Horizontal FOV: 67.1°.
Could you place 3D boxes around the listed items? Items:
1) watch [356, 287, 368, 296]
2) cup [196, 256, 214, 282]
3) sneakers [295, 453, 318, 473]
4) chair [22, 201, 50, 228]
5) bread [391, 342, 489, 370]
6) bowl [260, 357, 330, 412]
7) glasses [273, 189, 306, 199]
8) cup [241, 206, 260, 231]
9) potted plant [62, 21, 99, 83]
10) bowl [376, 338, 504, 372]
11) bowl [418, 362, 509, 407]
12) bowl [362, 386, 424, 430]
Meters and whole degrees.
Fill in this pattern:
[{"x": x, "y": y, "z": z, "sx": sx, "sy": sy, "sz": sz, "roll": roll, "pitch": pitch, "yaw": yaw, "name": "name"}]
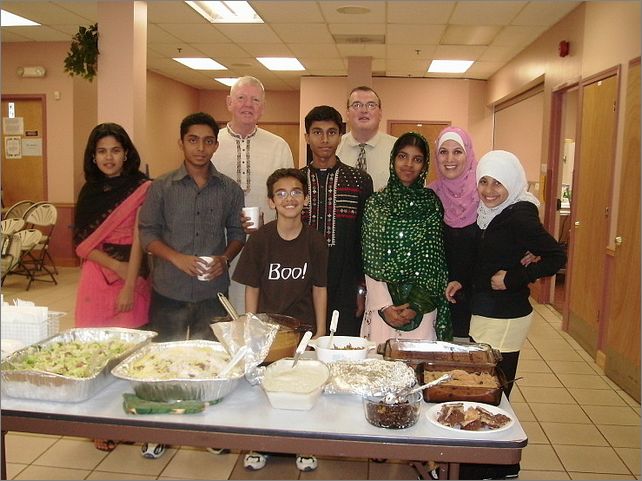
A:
[{"x": 0.253, "y": 0.318, "z": 3.029, "sx": 0.055, "sy": 0.042, "sz": 0.056, "roll": -3, "pitch": 2, "yaw": 25, "name": "watch"}, {"x": -0.659, "y": 0.164, "z": 2.754, "sx": 0.080, "sy": 0.166, "sz": 0.147, "roll": -1, "pitch": 10, "yaw": -13, "name": "cup"}, {"x": -0.096, "y": 1.316, "z": 2.852, "sx": 0.158, "sy": 0.093, "sz": 0.156, "roll": 1, "pitch": 2, "yaw": 2, "name": "sneakers"}, {"x": -4.016, "y": -0.377, "z": 6.805, "sx": 0.525, "sy": 0.306, "sz": 0.251, "roll": 7, "pitch": 11, "yaw": 29, "name": "chair"}, {"x": 0.525, "y": 0.498, "z": 2.131, "sx": 0.321, "sy": 0.054, "sz": 0.153, "roll": 2, "pitch": 16, "yaw": 9, "name": "bread"}, {"x": -0.120, "y": 0.571, "z": 1.993, "sx": 0.330, "sy": 0.123, "sz": 0.377, "roll": 3, "pitch": -8, "yaw": -11, "name": "bowl"}, {"x": -0.176, "y": -0.249, "z": 2.588, "sx": 0.159, "sy": 0.064, "sz": 0.061, "roll": 1, "pitch": 10, "yaw": -6, "name": "glasses"}, {"x": -0.405, "y": -0.137, "z": 2.889, "sx": 0.126, "sy": 0.136, "sz": 0.125, "roll": -2, "pitch": 0, "yaw": 0, "name": "cup"}, {"x": -2.617, "y": -2.075, "z": 5.287, "sx": 0.338, "sy": 0.626, "sz": 0.462, "roll": -3, "pitch": 11, "yaw": -24, "name": "potted plant"}, {"x": 0.520, "y": 0.497, "z": 2.130, "sx": 0.395, "sy": 0.055, "sz": 0.188, "roll": 1, "pitch": 16, "yaw": 10, "name": "bowl"}, {"x": 0.563, "y": 0.566, "z": 1.910, "sx": 0.246, "sy": 0.072, "sz": 0.162, "roll": 0, "pitch": 21, "yaw": 5, "name": "bowl"}, {"x": 0.261, "y": 0.613, "z": 1.769, "sx": 0.213, "sy": 0.105, "sz": 0.125, "roll": 2, "pitch": 10, "yaw": 4, "name": "bowl"}]
